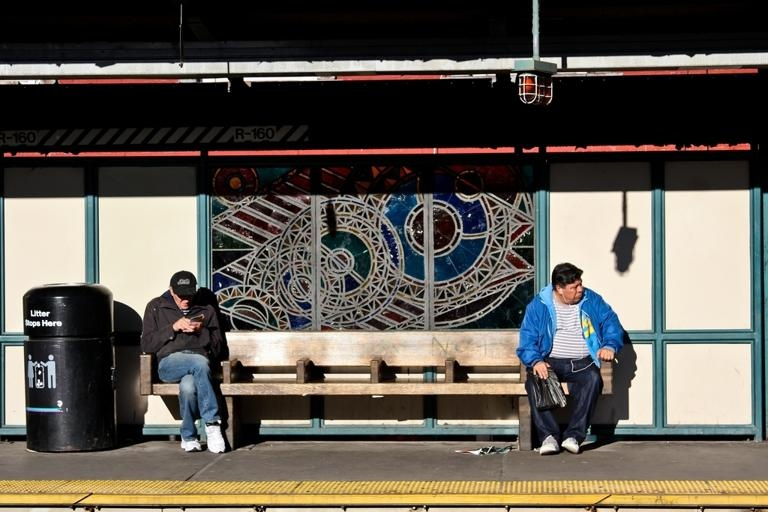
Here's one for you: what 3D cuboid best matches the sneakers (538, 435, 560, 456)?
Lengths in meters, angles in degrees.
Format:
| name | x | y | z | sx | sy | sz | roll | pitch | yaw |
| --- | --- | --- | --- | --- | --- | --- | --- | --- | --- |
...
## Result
| name | x | y | z | sx | sy | sz | roll | pitch | yaw |
| --- | --- | --- | --- | --- | --- | --- | --- | --- | --- |
| sneakers | 1.567 | 1.805 | 15.330 | 0.193 | 0.192 | 0.186 | -2 | -4 | 5 |

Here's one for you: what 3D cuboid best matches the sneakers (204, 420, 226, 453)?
| name | x | y | z | sx | sy | sz | roll | pitch | yaw |
| --- | --- | --- | --- | --- | --- | --- | --- | --- | --- |
| sneakers | -1.624 | 1.764 | 15.563 | 0.141 | 0.154 | 0.362 | -8 | 25 | -24 |

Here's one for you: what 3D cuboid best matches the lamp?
| name | x | y | z | sx | sy | sz | roll | pitch | yaw |
| --- | --- | --- | --- | --- | --- | --- | --- | --- | --- |
| lamp | 1.410 | -1.868 | 15.126 | 0.410 | 0.958 | 0.944 | -2 | -4 | 5 |

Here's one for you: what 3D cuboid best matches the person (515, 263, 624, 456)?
| name | x | y | z | sx | sy | sz | roll | pitch | yaw |
| --- | --- | --- | --- | --- | --- | --- | --- | --- | --- |
| person | 1.776 | 0.988 | 15.447 | 0.992 | 1.816 | 0.386 | -2 | -4 | 4 |

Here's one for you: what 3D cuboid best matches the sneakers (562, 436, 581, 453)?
| name | x | y | z | sx | sy | sz | roll | pitch | yaw |
| --- | --- | --- | --- | --- | --- | --- | --- | --- | --- |
| sneakers | 1.760 | 1.808 | 15.348 | 0.203 | 0.154 | 0.152 | -4 | -4 | 31 |

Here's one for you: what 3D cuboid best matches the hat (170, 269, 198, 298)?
| name | x | y | z | sx | sy | sz | roll | pitch | yaw |
| --- | --- | --- | --- | --- | --- | --- | --- | --- | --- |
| hat | -1.942 | 0.289 | 15.684 | 0.241 | 0.276 | 0.218 | -1 | -4 | -10 |
